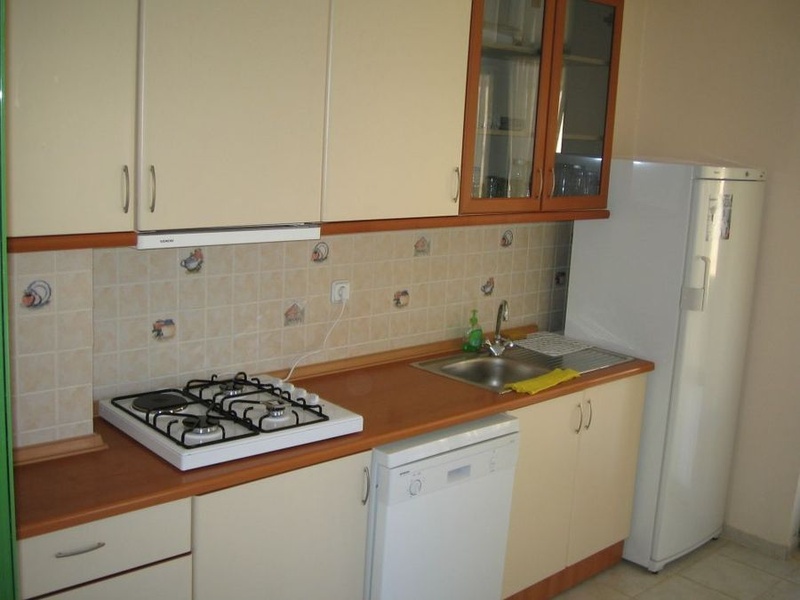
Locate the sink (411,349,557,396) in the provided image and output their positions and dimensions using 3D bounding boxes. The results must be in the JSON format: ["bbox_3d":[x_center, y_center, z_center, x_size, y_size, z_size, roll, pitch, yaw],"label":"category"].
[{"bbox_3d":[0.394,0.321,3.046,0.283,0.123,0.282,-13,19,-34],"label":"sink"}]

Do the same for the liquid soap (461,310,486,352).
[{"bbox_3d":[0.369,0.131,3.232,0.102,0.198,0.268,-1,12,7],"label":"liquid soap"}]
